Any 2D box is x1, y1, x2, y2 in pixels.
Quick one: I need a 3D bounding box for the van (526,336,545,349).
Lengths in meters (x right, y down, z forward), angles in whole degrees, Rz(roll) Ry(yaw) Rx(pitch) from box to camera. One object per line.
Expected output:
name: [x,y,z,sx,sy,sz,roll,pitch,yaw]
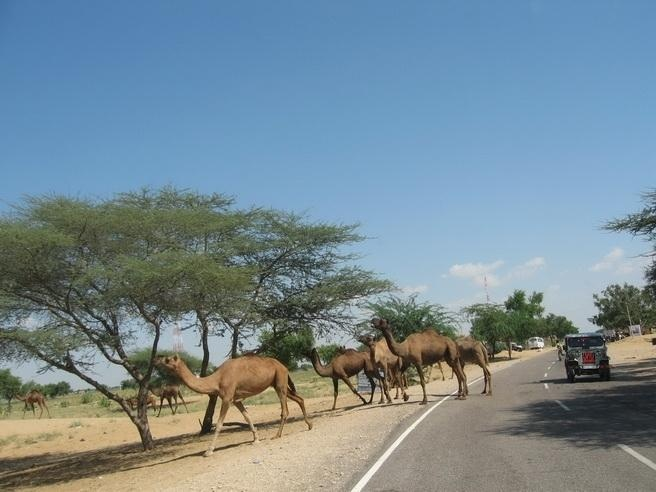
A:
van: [40.232,18.953,101.584,2.532,1.950,4.437,-1,-6,30]
